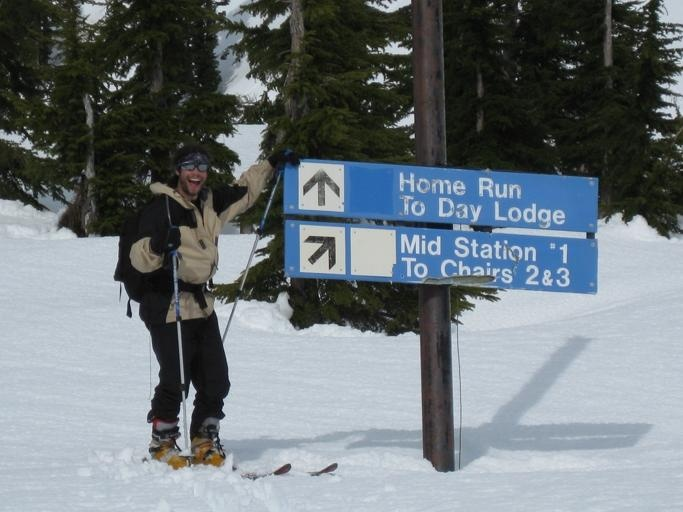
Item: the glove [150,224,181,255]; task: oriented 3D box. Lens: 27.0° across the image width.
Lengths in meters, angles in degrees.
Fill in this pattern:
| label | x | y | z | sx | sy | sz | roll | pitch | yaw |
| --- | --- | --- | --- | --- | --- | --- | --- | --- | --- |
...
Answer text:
| label | x | y | z | sx | sy | sz | roll | pitch | yaw |
| --- | --- | --- | --- | --- | --- | --- | --- | --- | --- |
| glove | -4.335 | -0.345 | 34.644 | 0.709 | 0.671 | 0.174 | 1 | 2 | -9 |
